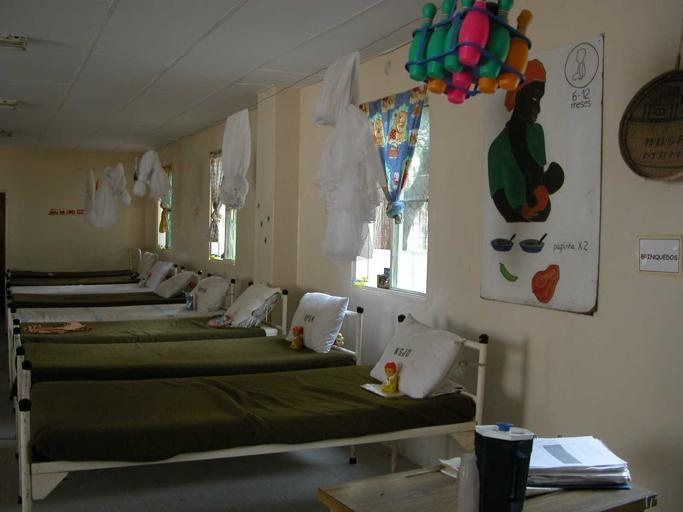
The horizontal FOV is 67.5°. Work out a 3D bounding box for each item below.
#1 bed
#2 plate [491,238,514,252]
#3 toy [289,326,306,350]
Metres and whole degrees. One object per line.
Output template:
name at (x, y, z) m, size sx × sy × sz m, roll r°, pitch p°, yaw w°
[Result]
bed at (-0.818, 0.814, 3.716) m, size 3.257 × 0.841 × 1.970 m, roll 1°, pitch 5°, yaw -16°
plate at (1.033, -0.071, 3.293) m, size 0.008 × 0.089 × 0.174 m, roll -1°, pitch 5°, yaw -35°
toy at (-0.389, 0.704, 4.414) m, size 0.142 × 0.246 × 0.183 m, roll 8°, pitch -9°, yaw -21°
